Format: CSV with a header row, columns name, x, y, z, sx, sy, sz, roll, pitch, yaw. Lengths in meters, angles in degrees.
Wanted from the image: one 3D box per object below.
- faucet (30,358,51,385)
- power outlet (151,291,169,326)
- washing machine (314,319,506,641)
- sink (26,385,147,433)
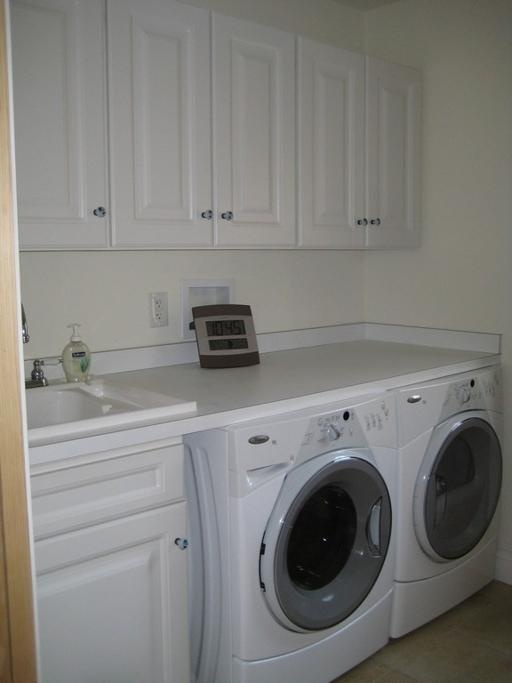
name,x,y,z,sx,sy,sz,roll,pitch,yaw
faucet,-0.630,0.082,1.499,0.045,0.071,0.112,-5,9,-24
power outlet,-0.347,-0.116,1.864,0.017,0.120,0.081,4,10,36
washing machine,0.572,0.422,2.140,0.615,1.000,0.698,-5,8,-37
sink,-0.483,0.168,1.360,0.197,0.086,0.163,23,23,37
